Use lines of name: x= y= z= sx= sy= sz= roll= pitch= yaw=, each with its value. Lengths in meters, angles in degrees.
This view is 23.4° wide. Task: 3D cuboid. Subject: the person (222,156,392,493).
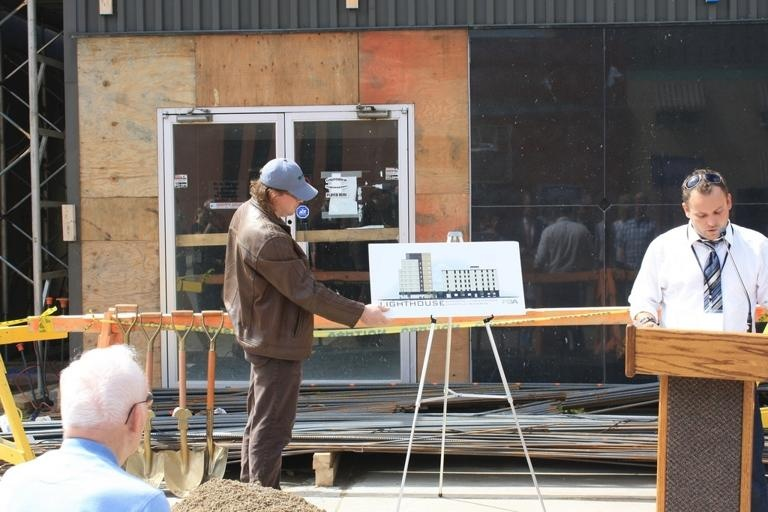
person: x=-0.936 y=0.634 z=17.870 sx=1.211 sy=3.168 sz=0.404 roll=-2 pitch=2 yaw=-4

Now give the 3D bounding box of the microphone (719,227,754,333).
microphone: x=3.327 y=0.270 z=17.511 sx=0.241 sy=0.879 sz=0.208 roll=-4 pitch=-2 yaw=3

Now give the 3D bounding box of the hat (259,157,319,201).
hat: x=-0.950 y=-0.832 z=17.899 sx=0.504 sy=0.493 sz=0.366 roll=-8 pitch=13 yaw=-44
